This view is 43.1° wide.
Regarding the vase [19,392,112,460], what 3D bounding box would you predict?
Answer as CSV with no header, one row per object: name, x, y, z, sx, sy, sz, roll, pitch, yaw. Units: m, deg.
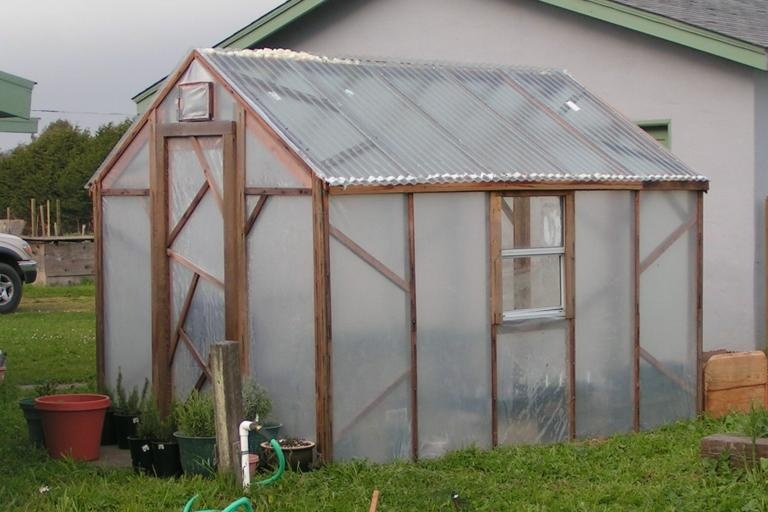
vase,-4.419,2.311,13.736,0.926,0.746,0.915,4,-4,-40

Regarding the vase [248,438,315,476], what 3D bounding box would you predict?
vase,-1.282,2.632,12.899,0.773,0.393,0.419,0,-5,-4

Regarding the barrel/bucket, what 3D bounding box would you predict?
barrel/bucket,-4.322,2.357,13.506,0.906,0.743,0.932,2,-3,0
